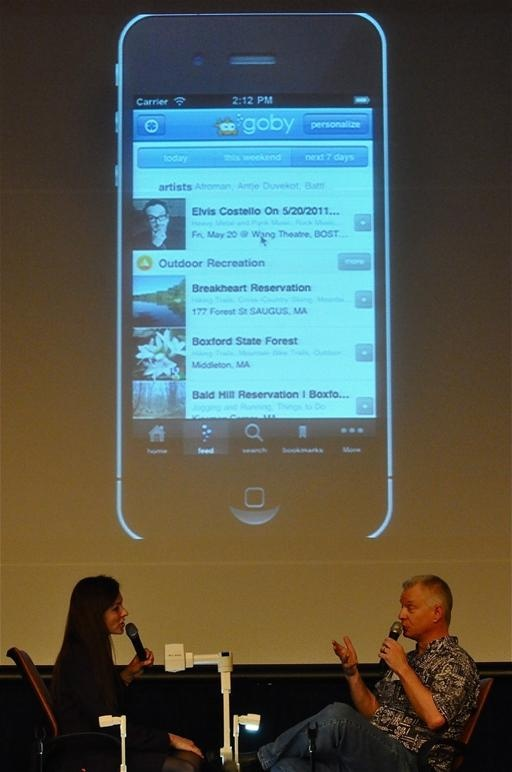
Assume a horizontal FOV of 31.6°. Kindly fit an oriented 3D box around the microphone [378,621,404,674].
[{"bbox_3d":[0.403,0.757,2.717,0.058,0.203,0.053,7,-26,0],"label":"microphone"}]
